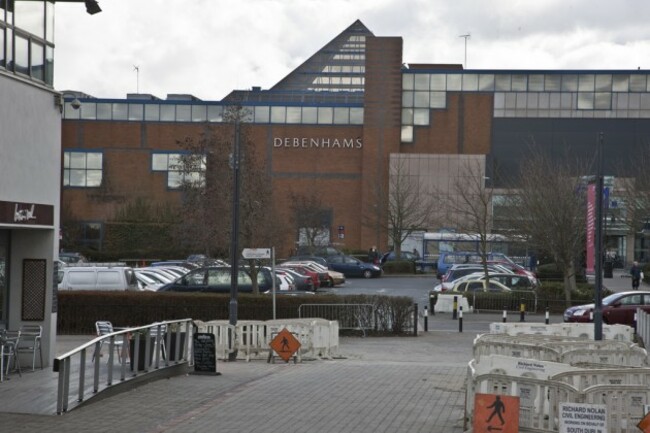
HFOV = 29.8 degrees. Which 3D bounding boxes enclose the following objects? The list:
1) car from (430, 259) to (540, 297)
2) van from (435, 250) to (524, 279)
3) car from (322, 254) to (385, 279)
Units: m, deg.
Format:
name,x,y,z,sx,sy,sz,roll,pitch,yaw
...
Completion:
name,x,y,z,sx,sy,sz,roll,pitch,yaw
car,8.894,3.229,67.189,7.930,2.309,3.264,0,-2,4
van,9.688,3.328,79.142,5.350,2.018,2.072,-1,0,0
car,1.933,3.303,79.853,3.488,1.143,1.488,0,2,6
